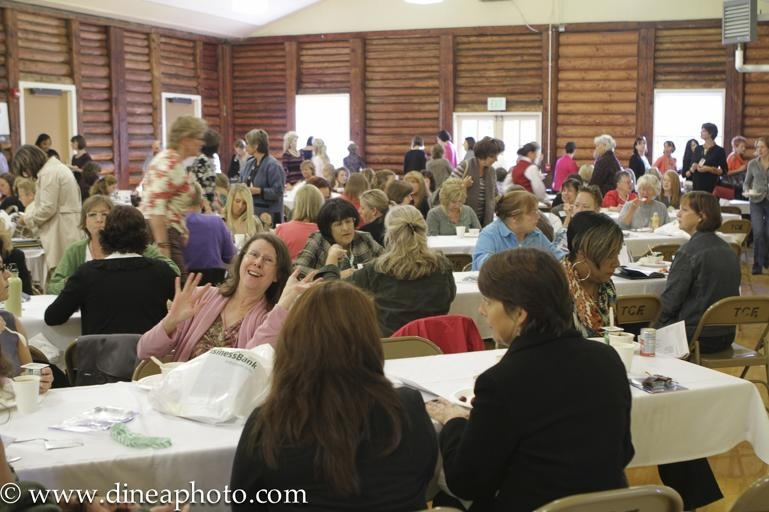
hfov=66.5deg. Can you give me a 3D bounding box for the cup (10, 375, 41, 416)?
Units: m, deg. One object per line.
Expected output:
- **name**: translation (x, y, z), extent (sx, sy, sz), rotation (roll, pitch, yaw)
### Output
- **cup**: translation (-1.443, 0.559, 2.367), extent (0.101, 0.136, 0.149), rotation (-3, -3, -13)

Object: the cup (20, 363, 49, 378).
- **cup**: translation (-1.506, 0.477, 2.517), extent (0.077, 0.074, 0.070), rotation (0, 2, -42)

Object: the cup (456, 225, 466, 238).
- **cup**: translation (0.841, -0.276, 6.497), extent (0.100, 0.118, 0.121), rotation (-1, -8, 9)

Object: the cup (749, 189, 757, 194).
- **cup**: translation (5.233, -0.916, 8.342), extent (0.107, 0.076, 0.106), rotation (0, 1, 0)

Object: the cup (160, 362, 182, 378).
- **cup**: translation (-0.923, 0.487, 2.543), extent (0.072, 0.034, 0.070), rotation (0, 4, 0)
